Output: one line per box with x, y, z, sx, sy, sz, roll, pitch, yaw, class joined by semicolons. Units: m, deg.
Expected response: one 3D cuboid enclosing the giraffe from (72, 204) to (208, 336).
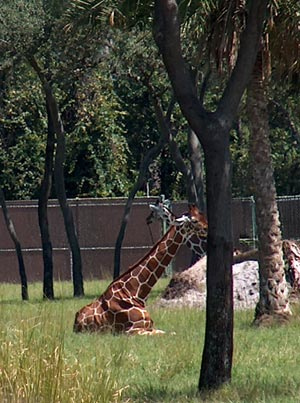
-0.154;1.161;17.528;2.241;3.183;1.263;-4;-3;-13;giraffe
